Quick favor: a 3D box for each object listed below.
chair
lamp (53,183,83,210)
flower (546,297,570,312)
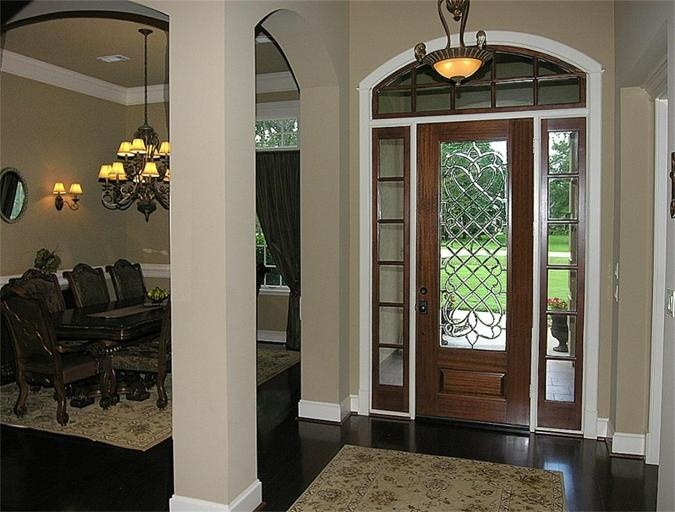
[{"bbox_3d":[-2.545,0.839,5.805,1.156,1.953,2.031,3,8,20],"label":"chair"},{"bbox_3d":[-3.784,-0.840,7.362,0.211,0.413,0.491,3,9,20],"label":"lamp"},{"bbox_3d":[2.081,0.464,4.891,0.146,0.112,0.148,3,-2,22],"label":"flower"}]
